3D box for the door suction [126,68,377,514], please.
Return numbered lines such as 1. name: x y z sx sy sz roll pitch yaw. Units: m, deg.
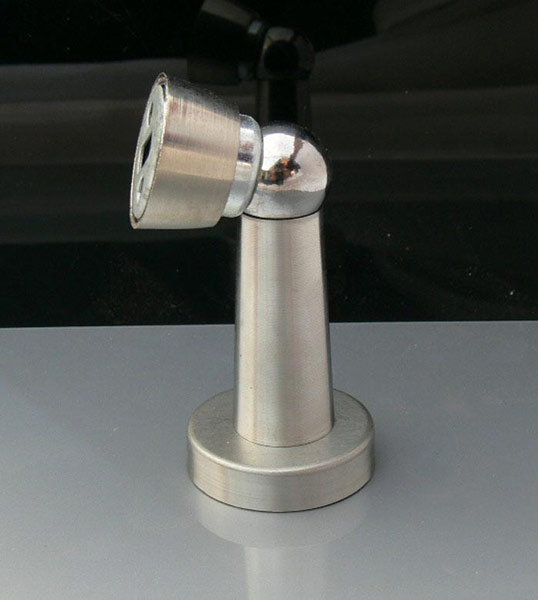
1. door suction: -0.005 0.005 0.477 0.171 0.271 0.208 -2 1 -10
